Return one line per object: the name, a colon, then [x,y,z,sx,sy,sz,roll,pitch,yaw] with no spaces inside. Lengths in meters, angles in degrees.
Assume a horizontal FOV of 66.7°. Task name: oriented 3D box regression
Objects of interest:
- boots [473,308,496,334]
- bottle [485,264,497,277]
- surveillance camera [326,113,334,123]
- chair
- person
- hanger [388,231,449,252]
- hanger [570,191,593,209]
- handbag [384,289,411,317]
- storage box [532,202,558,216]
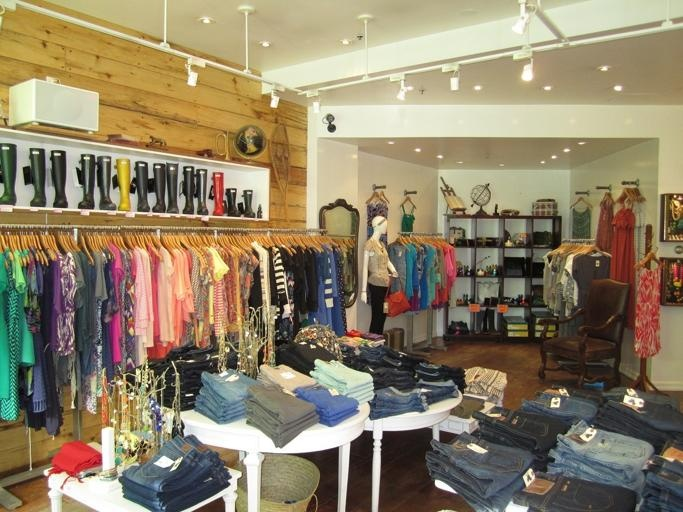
boots: [2.579,1.145,9.363,0.381,0.463,0.201,-3,2,10]
bottle: [2.729,0.252,9.484,0.197,0.310,0.197,-2,-4,0]
surveillance camera: [-0.150,-1.813,6.837,0.080,0.108,0.096,-3,-1,-7]
chair: [3.354,0.997,7.148,1.072,1.371,1.770,-2,2,24]
person: [0.516,0.284,7.526,0.557,1.734,0.341,-3,2,-15]
hanger: [1.311,-0.254,8.465,0.604,0.197,0.432,1,-4,-36]
hanger: [4.091,-0.954,8.819,0.375,0.266,0.078,5,12,36]
handbag: [0.808,0.659,7.609,0.415,0.299,0.159,-13,3,-39]
storage box: [3.626,-0.840,9.263,0.367,0.250,0.285,2,4,26]
